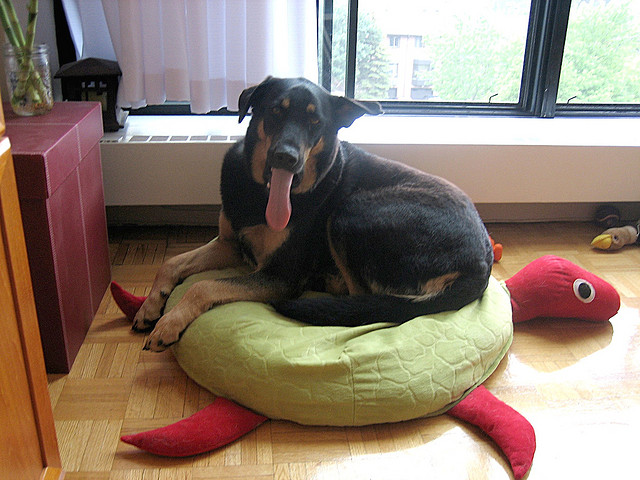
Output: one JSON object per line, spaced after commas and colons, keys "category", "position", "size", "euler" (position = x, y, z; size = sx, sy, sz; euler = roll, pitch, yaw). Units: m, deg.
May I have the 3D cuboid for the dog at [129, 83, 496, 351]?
{"category": "dog", "position": [-0.055, -0.181, 2.308], "size": [1.418, 0.883, 0.924], "euler": [-2, 19, -13]}

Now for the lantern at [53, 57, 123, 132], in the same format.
{"category": "lantern", "position": [-1.151, -0.754, 2.781], "size": [0.404, 0.377, 0.322], "euler": [6, 25, 18]}

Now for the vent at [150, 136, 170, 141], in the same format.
{"category": "vent", "position": [-0.845, -0.525, 2.793], "size": [0.080, 0.006, 0.055], "euler": [-5, 21, -1]}
